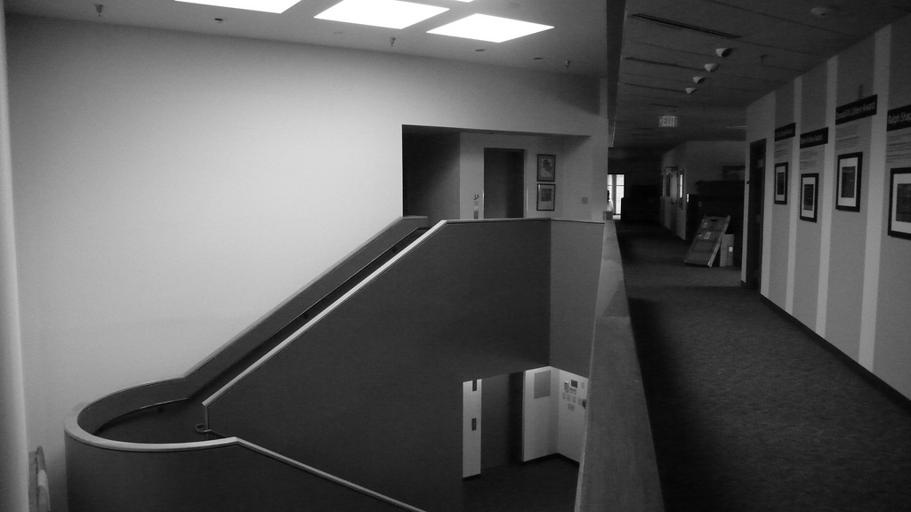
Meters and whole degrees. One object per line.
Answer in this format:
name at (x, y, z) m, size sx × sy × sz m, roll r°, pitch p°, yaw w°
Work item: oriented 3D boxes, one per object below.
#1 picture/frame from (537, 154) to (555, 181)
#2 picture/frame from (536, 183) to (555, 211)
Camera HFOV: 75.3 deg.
picture/frame at (2.876, -2.905, 18.935) m, size 0.943 × 1.003 × 0.103 m, roll -1°, pitch 1°, yaw -35°
picture/frame at (2.871, -1.920, 18.976) m, size 0.959 × 1.022 × 0.118 m, roll -1°, pitch 1°, yaw -36°
